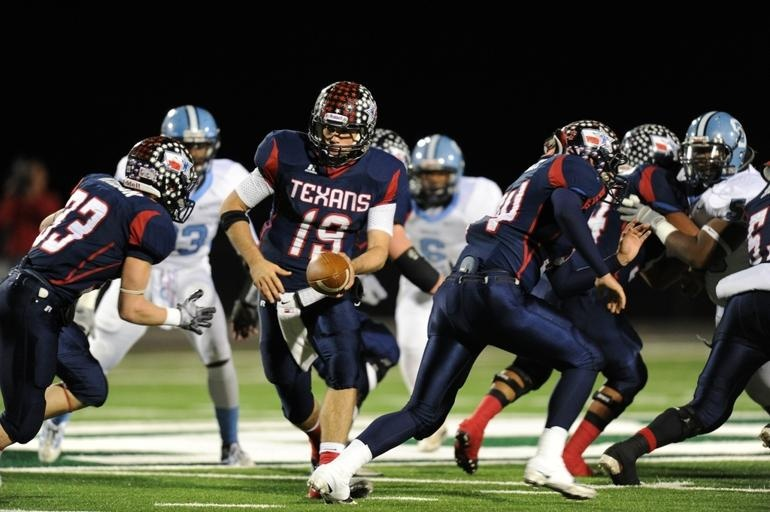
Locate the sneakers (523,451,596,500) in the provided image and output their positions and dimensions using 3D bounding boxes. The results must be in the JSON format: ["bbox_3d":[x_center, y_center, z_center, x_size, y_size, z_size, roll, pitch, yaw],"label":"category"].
[{"bbox_3d":[1.014,1.278,5.118,0.502,0.242,0.170,17,-27,-10],"label":"sneakers"}]

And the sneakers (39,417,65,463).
[{"bbox_3d":[-2.473,1.380,6.586,0.134,0.383,0.165,2,-5,-11],"label":"sneakers"}]

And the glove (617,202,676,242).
[{"bbox_3d":[1.747,-0.271,6.013,0.163,0.143,0.483,15,17,-26],"label":"glove"}]

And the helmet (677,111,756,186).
[{"bbox_3d":[2.292,-0.805,6.255,0.416,0.461,0.589,13,24,43],"label":"helmet"}]

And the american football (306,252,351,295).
[{"bbox_3d":[-0.322,0.111,5.220,0.272,0.216,0.220,1,-7,-2],"label":"american football"}]

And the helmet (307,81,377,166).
[{"bbox_3d":[-0.258,-0.862,5.543,0.408,0.446,0.515,13,33,9],"label":"helmet"}]

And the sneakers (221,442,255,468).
[{"bbox_3d":[-1.053,1.475,6.514,0.306,0.134,0.113,6,0,21],"label":"sneakers"}]

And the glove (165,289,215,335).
[{"bbox_3d":[-1.203,0.388,5.556,0.324,0.228,0.121,-14,-17,-21],"label":"glove"}]

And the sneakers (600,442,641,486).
[{"bbox_3d":[1.437,1.280,5.401,0.125,0.305,0.179,-4,43,55],"label":"sneakers"}]

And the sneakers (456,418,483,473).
[{"bbox_3d":[0.542,1.227,5.761,0.134,0.360,0.186,10,20,21],"label":"sneakers"}]

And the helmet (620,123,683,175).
[{"bbox_3d":[2.021,-0.809,6.832,0.458,0.387,0.335,-2,-4,-2],"label":"helmet"}]

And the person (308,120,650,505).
[{"bbox_3d":[0.633,0.396,5.189,1.509,2.009,0.602,-1,-2,10],"label":"person"}]

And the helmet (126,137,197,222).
[{"bbox_3d":[-1.406,-0.495,5.505,0.414,0.488,0.531,13,4,36],"label":"helmet"}]

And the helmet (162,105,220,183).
[{"bbox_3d":[-1.615,-0.888,7.104,0.469,0.552,0.572,-4,45,-27],"label":"helmet"}]
